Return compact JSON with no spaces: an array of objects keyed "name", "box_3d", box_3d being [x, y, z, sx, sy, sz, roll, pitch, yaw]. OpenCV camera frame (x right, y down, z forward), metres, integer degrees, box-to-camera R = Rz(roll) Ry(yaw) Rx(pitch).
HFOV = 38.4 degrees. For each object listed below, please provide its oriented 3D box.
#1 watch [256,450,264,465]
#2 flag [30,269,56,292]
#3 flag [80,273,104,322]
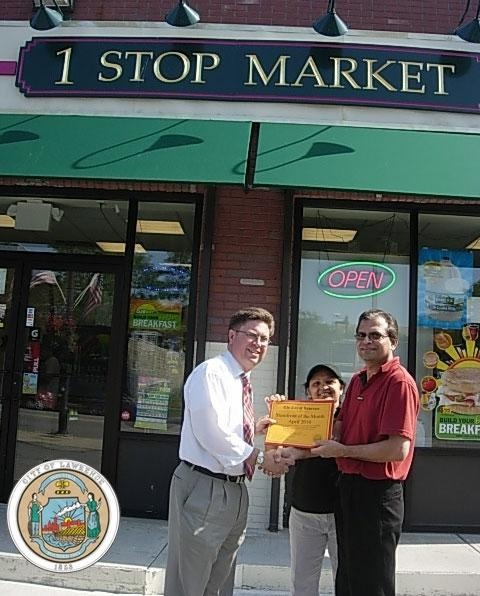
[{"name":"watch","box_3d":[0.117,0.900,3.876,0.056,0.075,0.076,3,1,-10]},{"name":"flag","box_3d":[-1.990,-0.181,7.028,0.242,0.194,0.040,3,-6,-2]},{"name":"flag","box_3d":[-1.474,-0.035,6.956,0.204,0.431,0.032,-1,-8,20]}]
